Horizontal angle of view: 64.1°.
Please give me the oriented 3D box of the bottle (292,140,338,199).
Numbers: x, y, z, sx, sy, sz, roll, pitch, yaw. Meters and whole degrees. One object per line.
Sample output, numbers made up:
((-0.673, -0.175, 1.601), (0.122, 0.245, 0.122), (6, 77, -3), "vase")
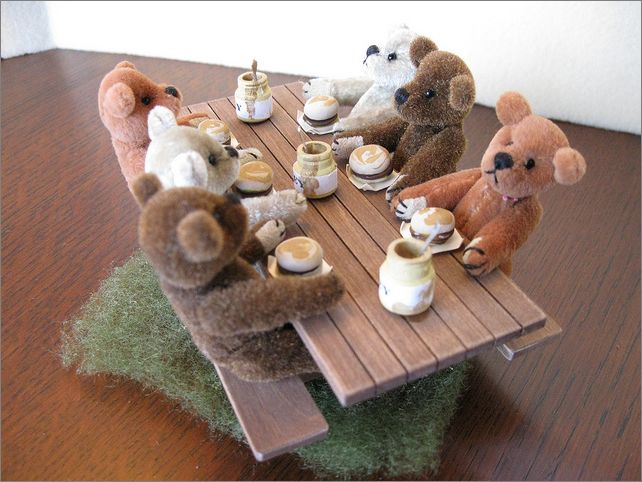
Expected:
((-0.028, -0.336, 2.361), (0.204, 0.219, 0.215), (29, 44, 34), "bottle")

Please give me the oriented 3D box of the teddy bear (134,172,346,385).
((-0.250, 0.105, 1.930), (0.559, 0.843, 0.623), (-38, 42, -26), "teddy bear")

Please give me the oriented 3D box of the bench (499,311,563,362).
((0.847, 0.387, 2.049), (0.198, 0.050, 0.213), (-24, 43, -15), "bench")

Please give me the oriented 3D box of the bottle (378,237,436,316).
((0.320, 0.123, 1.897), (0.201, 0.244, 0.212), (24, 42, 29), "bottle")

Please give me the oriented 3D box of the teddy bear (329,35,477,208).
((0.390, -0.563, 2.532), (0.614, 0.774, 0.647), (14, 43, 10), "teddy bear")

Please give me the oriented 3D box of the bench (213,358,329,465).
((-0.146, 0.613, 2.020), (0.312, 0.103, 0.585), (-12, 25, -15), "bench")

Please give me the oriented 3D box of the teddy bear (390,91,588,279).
((0.645, -0.176, 2.181), (0.611, 0.805, 0.605), (29, 46, 14), "teddy bear")

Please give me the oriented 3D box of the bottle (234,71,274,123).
((-0.378, -0.815, 2.868), (0.204, 0.229, 0.208), (-14, 36, -22), "bottle")
